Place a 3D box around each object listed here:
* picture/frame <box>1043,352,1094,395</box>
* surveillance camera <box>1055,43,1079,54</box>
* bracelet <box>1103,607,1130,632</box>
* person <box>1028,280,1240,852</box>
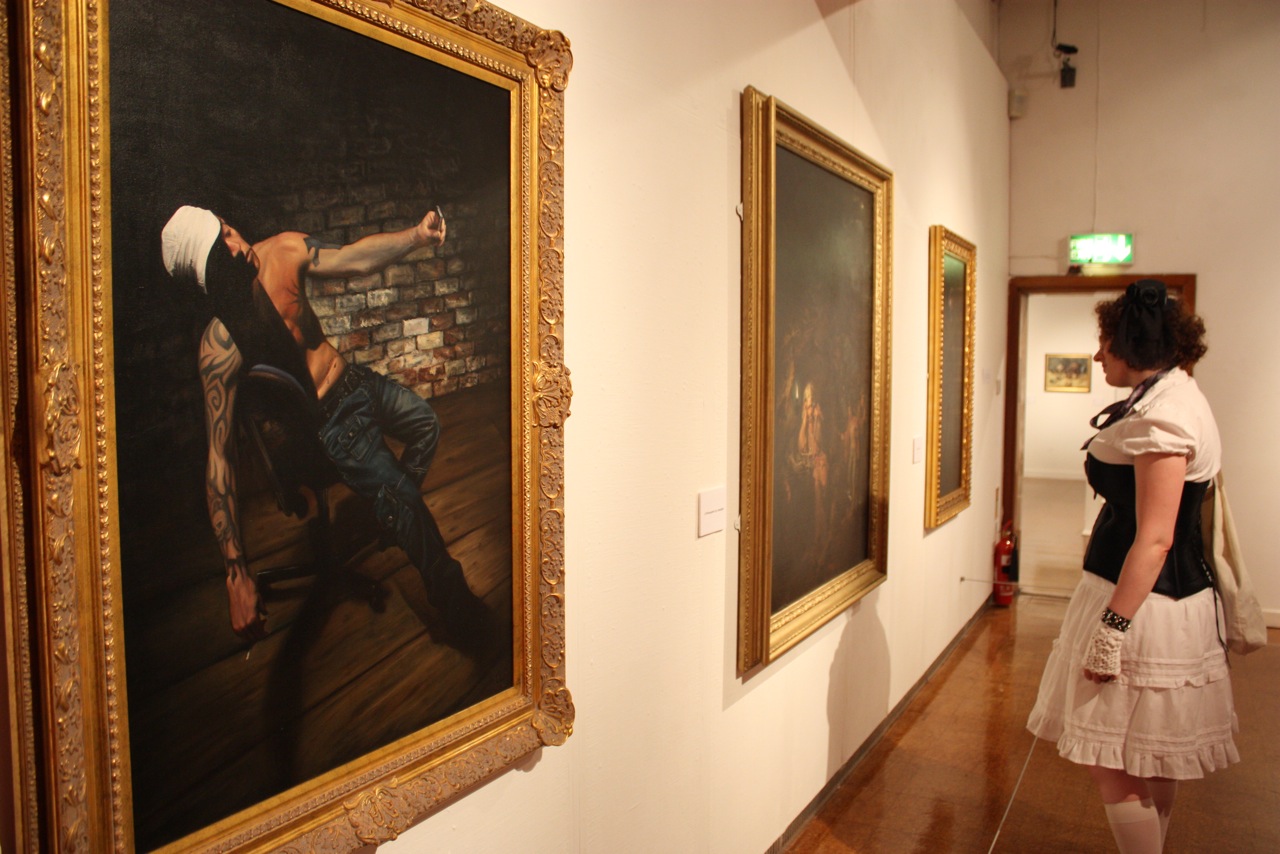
[{"bbox_3d":[3.648,-0.468,8.144,0.329,0.322,0.024,4,14,22],"label":"picture/frame"},{"bbox_3d":[3.431,-3.040,7.703,0.179,0.083,0.063,0,9,5],"label":"surveillance camera"},{"bbox_3d":[1.765,0.710,3.552,0.075,0.059,0.078,3,2,-3],"label":"bracelet"},{"bbox_3d":[1.965,0.574,3.726,0.708,2.255,0.546,-1,9,-5],"label":"person"}]
